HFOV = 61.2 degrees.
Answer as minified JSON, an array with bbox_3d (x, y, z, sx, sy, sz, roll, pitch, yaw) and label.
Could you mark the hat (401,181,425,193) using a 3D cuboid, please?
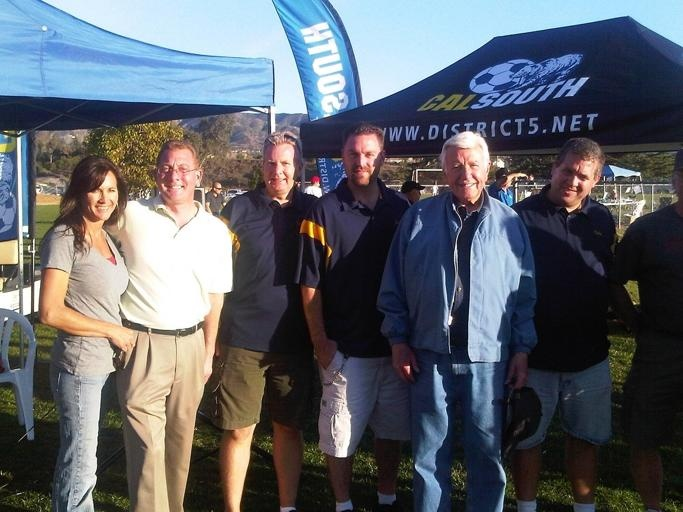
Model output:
[{"bbox_3d":[0.869,-0.830,6.863,0.242,0.145,0.177,-4,9,-17],"label":"hat"}]
